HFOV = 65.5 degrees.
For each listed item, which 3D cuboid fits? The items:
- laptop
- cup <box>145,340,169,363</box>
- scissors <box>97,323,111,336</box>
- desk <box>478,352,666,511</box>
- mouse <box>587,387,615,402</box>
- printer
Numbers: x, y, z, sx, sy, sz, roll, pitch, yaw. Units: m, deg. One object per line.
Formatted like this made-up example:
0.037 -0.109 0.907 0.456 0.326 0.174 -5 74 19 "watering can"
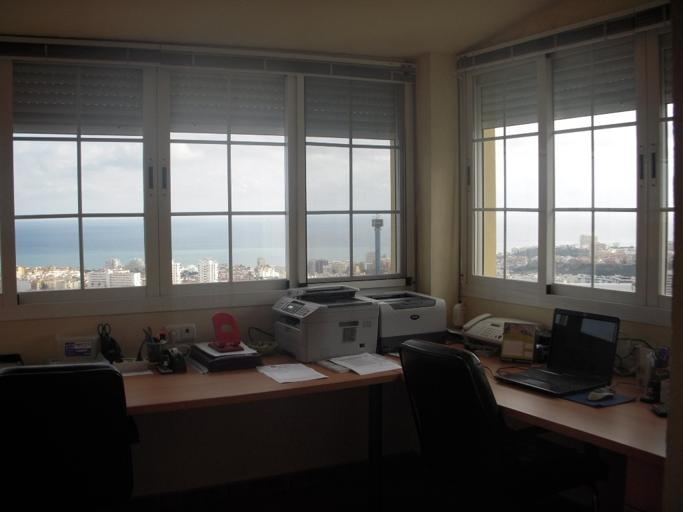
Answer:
1.158 0.515 2.876 0.481 0.363 0.451 -4 2 -23 "laptop"
-1.093 0.564 3.127 0.118 0.127 0.121 0 -2 0 "cup"
-1.474 0.454 3.265 0.075 0.096 0.038 2 -7 -43 "scissors"
1.108 0.904 2.585 0.805 0.386 0.509 1 5 33 "desk"
1.294 0.691 2.662 0.112 0.038 0.066 -7 12 -25 "mouse"
-0.101 0.396 3.379 0.478 0.378 0.508 -2 4 -26 "printer"
